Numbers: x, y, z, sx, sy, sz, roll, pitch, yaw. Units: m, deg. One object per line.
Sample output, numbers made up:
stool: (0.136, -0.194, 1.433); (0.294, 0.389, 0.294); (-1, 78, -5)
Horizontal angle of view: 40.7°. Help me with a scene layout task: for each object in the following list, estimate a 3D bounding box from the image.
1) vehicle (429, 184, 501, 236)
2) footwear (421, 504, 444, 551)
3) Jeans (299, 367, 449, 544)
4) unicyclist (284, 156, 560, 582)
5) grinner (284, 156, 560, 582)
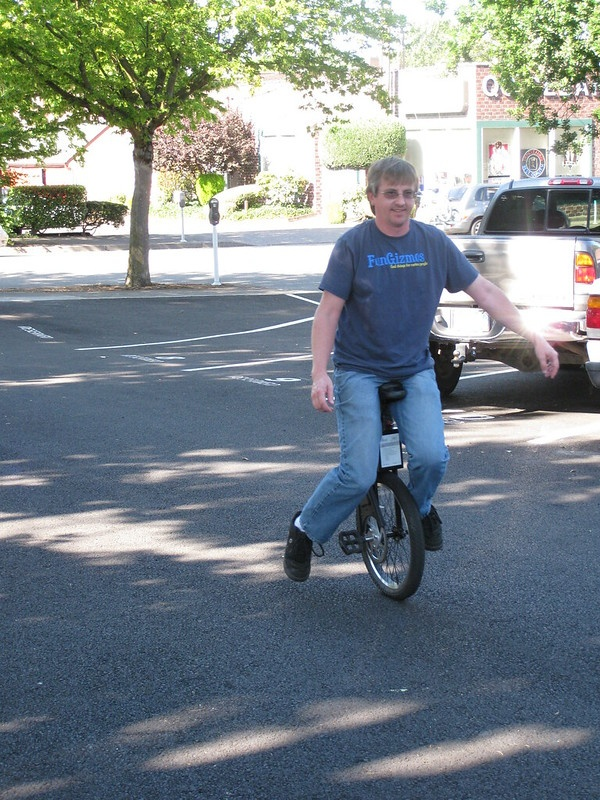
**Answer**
vehicle: (5.715, -7.168, 29.569); (2.215, 1.928, 4.300); (26, 24, 16)
footwear: (0.602, 0.563, 3.600); (0.082, 0.095, 0.233); (3, 30, 10)
Jeans: (0.302, 0.208, 3.432); (0.606, 0.739, 0.410); (-2, -2, -9)
unicyclist: (0.506, -0.123, 3.454); (1.315, 1.666, 0.513); (-3, 6, -17)
grinner: (0.503, -0.122, 3.451); (1.308, 1.679, 0.503); (-2, 6, -21)
